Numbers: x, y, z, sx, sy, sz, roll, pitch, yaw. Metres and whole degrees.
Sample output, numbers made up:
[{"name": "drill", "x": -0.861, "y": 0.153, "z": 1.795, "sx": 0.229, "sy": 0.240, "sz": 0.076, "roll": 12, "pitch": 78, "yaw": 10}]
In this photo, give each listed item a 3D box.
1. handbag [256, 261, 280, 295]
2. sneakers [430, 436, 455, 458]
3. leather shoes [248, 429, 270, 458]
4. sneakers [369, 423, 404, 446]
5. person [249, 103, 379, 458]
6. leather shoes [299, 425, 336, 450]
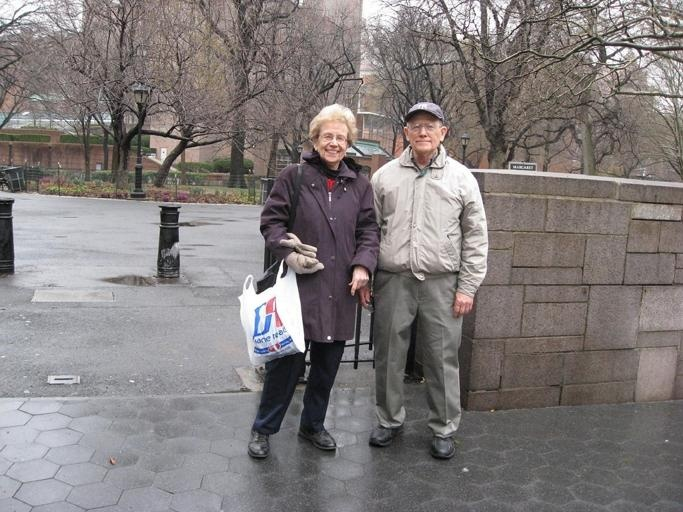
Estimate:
[{"name": "handbag", "x": -0.549, "y": 0.160, "z": 4.999, "sx": 0.090, "sy": 0.262, "sz": 0.157, "roll": 26, "pitch": 2, "yaw": -20}, {"name": "sneakers", "x": 0.827, "y": 1.495, "z": 5.241, "sx": 0.211, "sy": 0.144, "sz": 0.266, "roll": 4, "pitch": 12, "yaw": 4}, {"name": "leather shoes", "x": -0.608, "y": 1.445, "z": 4.990, "sx": 0.094, "sy": 0.129, "sz": 0.257, "roll": 4, "pitch": -3, "yaw": -11}, {"name": "sneakers", "x": 0.371, "y": 1.441, "z": 5.355, "sx": 0.122, "sy": 0.129, "sz": 0.291, "roll": 5, "pitch": 4, "yaw": 39}, {"name": "person", "x": -0.159, "y": 0.176, "z": 5.073, "sx": 0.907, "sy": 2.643, "sz": 0.543, "roll": 1, "pitch": 12, "yaw": -8}, {"name": "leather shoes", "x": -0.166, "y": 1.450, "z": 5.259, "sx": 0.300, "sy": 0.145, "sz": 0.125, "roll": 19, "pitch": 12, "yaw": 26}]
